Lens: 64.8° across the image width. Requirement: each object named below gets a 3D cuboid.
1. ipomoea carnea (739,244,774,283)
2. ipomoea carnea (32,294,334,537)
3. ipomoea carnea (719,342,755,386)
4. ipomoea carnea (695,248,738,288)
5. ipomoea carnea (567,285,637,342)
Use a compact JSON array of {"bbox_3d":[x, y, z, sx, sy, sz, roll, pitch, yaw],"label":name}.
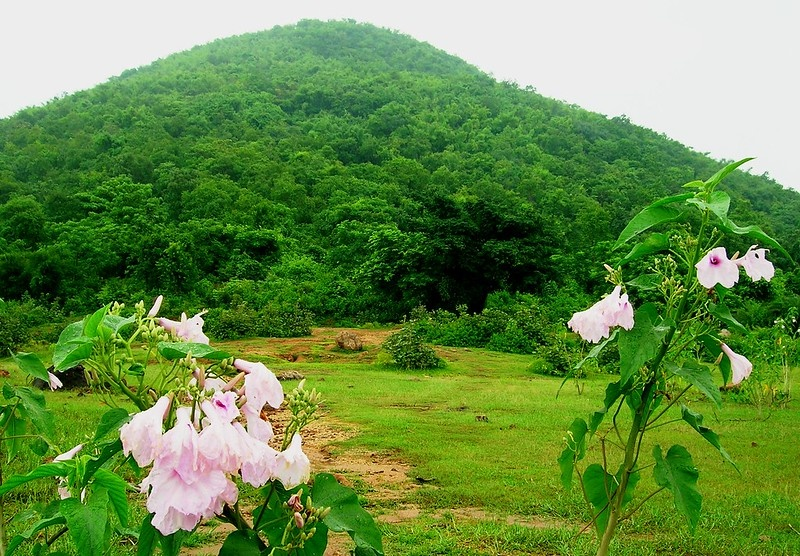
[{"bbox_3d":[2.214,-0.100,3.926,0.186,0.274,0.509,0,-5,29],"label":"ipomoea carnea"},{"bbox_3d":[-1.109,0.651,3.090,1.062,1.129,0.536,0,-6,30],"label":"ipomoea carnea"},{"bbox_3d":[2.200,0.554,4.116,0.168,0.245,0.409,-1,-6,35],"label":"ipomoea carnea"},{"bbox_3d":[1.968,-0.065,3.889,0.295,0.257,0.219,6,-6,-37],"label":"ipomoea carnea"},{"bbox_3d":[1.282,0.301,3.951,0.356,0.384,0.202,4,-29,47],"label":"ipomoea carnea"}]
